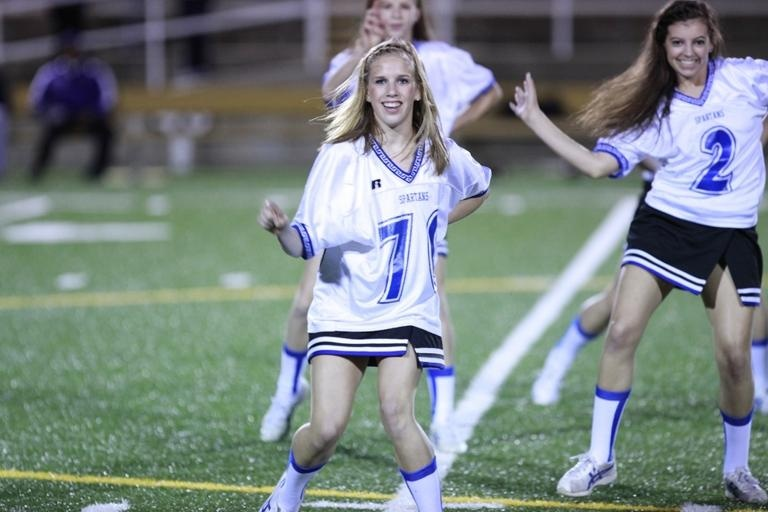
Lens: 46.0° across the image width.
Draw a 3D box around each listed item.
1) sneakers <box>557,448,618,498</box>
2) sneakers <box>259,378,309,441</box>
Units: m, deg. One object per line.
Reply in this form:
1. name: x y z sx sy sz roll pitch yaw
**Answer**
1. sneakers: 1.069 1.161 4.864 0.358 0.177 0.153 -17 22 -22
2. sneakers: -0.580 0.885 5.513 0.154 0.497 0.205 19 -17 17
